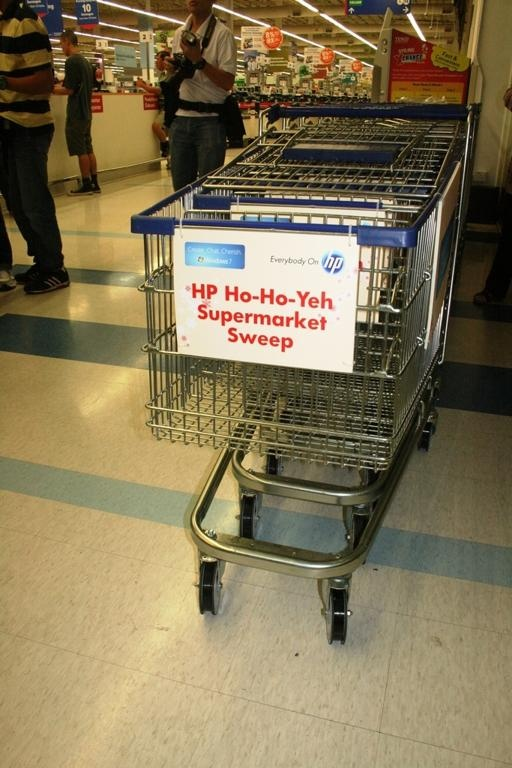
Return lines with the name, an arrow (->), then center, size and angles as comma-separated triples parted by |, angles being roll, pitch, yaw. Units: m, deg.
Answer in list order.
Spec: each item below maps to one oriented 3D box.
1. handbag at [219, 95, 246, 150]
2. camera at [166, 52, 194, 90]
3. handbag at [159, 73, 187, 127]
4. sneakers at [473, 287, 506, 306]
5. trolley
handbag -> -0.149, -1.514, 3.274 | 0.195, 0.339, 0.085 | 0, 5, -18
camera -> -0.396, -1.643, 3.000 | 0.138, 0.151, 0.213 | -5, 32, -7
handbag -> -0.413, -1.565, 3.156 | 0.134, 0.227, 0.236 | -1, 21, -3
sneakers -> 1.480, -0.547, 3.677 | 0.235, 0.067, 0.095 | -12, 66, -2
trolley -> 0.164, -0.078, 1.590 | 0.680, 1.098, 1.317 | 10, 33, 18
